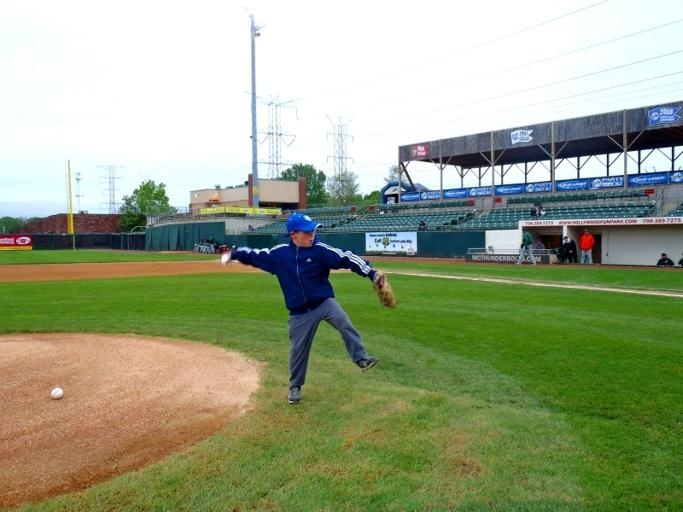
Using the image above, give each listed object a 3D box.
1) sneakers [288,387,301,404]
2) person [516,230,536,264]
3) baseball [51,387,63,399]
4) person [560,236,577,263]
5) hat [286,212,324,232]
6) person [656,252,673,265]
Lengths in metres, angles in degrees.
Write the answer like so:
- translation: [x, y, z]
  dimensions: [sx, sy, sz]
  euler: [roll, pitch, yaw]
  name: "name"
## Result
- translation: [-0.559, 1.665, 6.911]
  dimensions: [0.144, 0.153, 0.358]
  euler: [1, -9, -3]
  name: "sneakers"
- translation: [8.956, -0.497, 27.386]
  dimensions: [0.613, 1.562, 0.921]
  euler: [-11, 5, -27]
  name: "person"
- translation: [-3.560, 1.695, 7.214]
  dimensions: [0.124, 0.064, 0.124]
  euler: [8, 33, -4]
  name: "baseball"
- translation: [11.354, -0.226, 28.710]
  dimensions: [0.737, 1.306, 1.486]
  euler: [4, 14, 20]
  name: "person"
- translation: [-0.455, -0.389, 6.820]
  dimensions: [0.350, 0.186, 0.235]
  euler: [-4, 7, 0]
  name: "hat"
- translation: [15.302, 0.135, 27.110]
  dimensions: [0.450, 0.766, 0.475]
  euler: [-3, -7, -39]
  name: "person"
